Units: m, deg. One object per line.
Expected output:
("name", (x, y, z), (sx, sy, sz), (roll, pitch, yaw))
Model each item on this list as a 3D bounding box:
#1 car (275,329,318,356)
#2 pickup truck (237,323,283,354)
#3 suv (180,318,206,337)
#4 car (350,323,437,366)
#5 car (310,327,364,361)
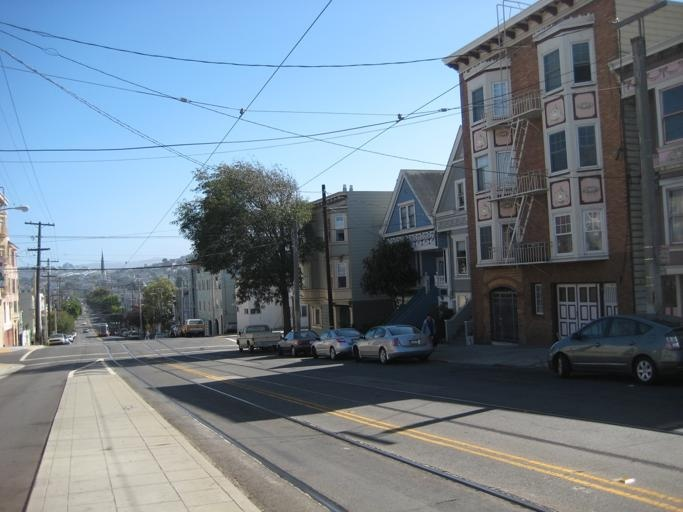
("car", (-2.536, 4.857, 34.565), (1.111, 0.895, 2.608), (1, -3, -24))
("pickup truck", (-5.707, 5.453, 40.912), (1.636, 1.315, 2.807), (1, -5, -25))
("suv", (-17.465, 8.455, 73.115), (1.865, 2.059, 3.874), (2, -9, -34))
("car", (2.129, 3.848, 26.919), (1.588, 1.600, 3.434), (3, -9, -38))
("car", (-0.319, 4.343, 30.590), (1.143, 0.926, 2.620), (0, -3, -24))
